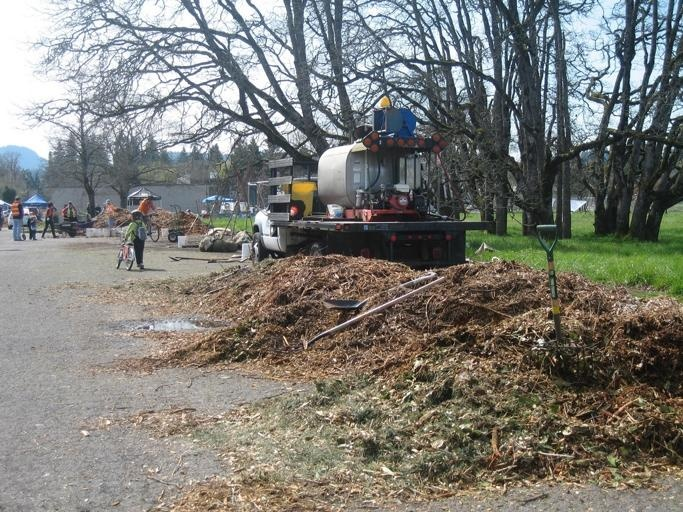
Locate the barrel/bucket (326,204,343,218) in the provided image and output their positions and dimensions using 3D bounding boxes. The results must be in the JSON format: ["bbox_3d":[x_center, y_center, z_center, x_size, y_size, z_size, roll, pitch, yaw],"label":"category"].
[{"bbox_3d":[-0.155,-1.026,15.727,0.284,0.268,0.266,-3,-2,0],"label":"barrel/bucket"}]

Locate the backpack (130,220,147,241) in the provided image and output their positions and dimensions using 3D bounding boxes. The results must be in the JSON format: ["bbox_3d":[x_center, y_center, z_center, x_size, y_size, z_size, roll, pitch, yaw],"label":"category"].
[{"bbox_3d":[-5.634,-0.730,19.574,0.489,0.574,0.370,-1,3,26],"label":"backpack"}]

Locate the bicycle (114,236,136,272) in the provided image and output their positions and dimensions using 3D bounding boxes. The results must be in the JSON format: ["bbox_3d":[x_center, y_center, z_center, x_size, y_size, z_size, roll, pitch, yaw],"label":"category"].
[{"bbox_3d":[-6.030,-0.071,19.963,0.641,0.858,1.296,3,12,-33],"label":"bicycle"}]

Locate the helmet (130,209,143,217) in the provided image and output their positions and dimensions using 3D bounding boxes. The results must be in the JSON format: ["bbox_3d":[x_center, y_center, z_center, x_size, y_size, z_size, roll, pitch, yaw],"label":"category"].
[{"bbox_3d":[-5.789,-1.213,19.695,0.351,0.212,0.458,1,-2,-13],"label":"helmet"}]

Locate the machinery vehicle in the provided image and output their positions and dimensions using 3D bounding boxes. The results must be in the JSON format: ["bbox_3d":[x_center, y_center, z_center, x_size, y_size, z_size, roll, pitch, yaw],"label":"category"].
[{"bbox_3d":[0.260,-1.602,16.931,2.731,3.356,6.037,0,4,-22],"label":"machinery vehicle"}]
